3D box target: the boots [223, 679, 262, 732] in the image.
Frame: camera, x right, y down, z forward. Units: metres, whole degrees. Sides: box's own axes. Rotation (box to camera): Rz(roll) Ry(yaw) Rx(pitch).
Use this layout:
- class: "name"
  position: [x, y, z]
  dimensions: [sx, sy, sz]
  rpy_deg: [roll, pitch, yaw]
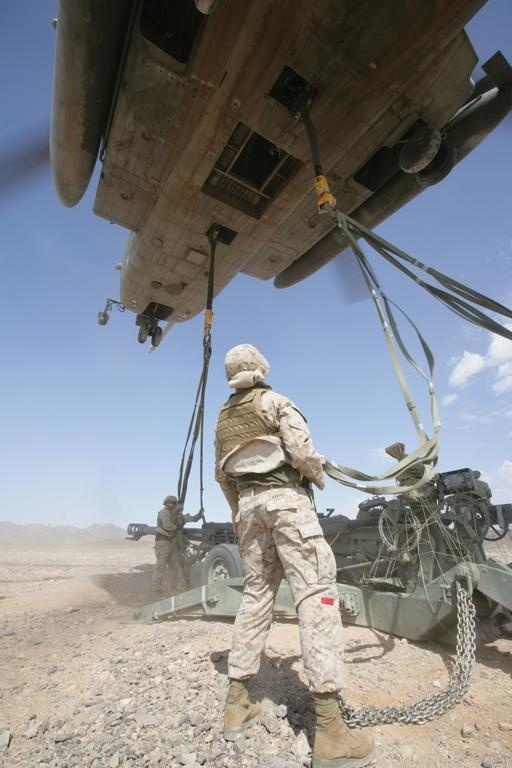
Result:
- class: "boots"
  position: [-0.065, 1.489, 1.863]
  dimensions: [0.106, 0.217, 0.299]
  rpy_deg: [-11, -24, 20]

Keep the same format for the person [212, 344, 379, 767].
- class: "person"
  position: [0.109, 0.788, 1.935]
  dimensions: [0.705, 1.614, 0.372]
  rpy_deg: [-11, -17, 32]
